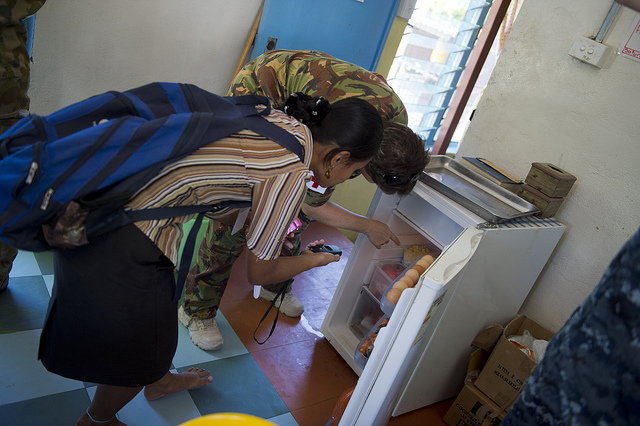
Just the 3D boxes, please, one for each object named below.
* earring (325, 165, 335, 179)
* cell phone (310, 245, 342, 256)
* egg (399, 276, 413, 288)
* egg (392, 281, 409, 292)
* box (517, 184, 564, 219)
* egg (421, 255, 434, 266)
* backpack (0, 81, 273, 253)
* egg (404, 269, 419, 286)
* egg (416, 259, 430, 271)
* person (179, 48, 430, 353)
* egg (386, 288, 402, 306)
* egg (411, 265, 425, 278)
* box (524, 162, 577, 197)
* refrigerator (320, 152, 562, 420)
[{"bbox_3d":[0.032,-0.164,1.604,0.029,0.057,0.018,17,21,-6],"label":"earring"},{"bbox_3d":[0.020,0.190,2.122,0.091,0.021,0.092,2,13,6],"label":"cell phone"},{"bbox_3d":[0.389,0.302,1.895,0.054,0.047,0.047,38,30,3],"label":"egg"},{"bbox_3d":[0.363,0.330,1.863,0.054,0.045,0.045,12,-16,-25],"label":"egg"},{"bbox_3d":[1.237,-0.074,2.314,0.085,0.101,0.151,-24,40,-26],"label":"box"},{"bbox_3d":[0.521,0.226,1.979,0.041,0.031,0.042,24,43,39],"label":"egg"},{"bbox_3d":[-0.662,-0.177,1.582,0.947,0.301,0.512,-23,66,-29],"label":"backpack"},{"bbox_3d":[0.426,0.291,1.893,0.060,0.060,0.069,-1,68,-14],"label":"egg"},{"bbox_3d":[0.487,0.245,1.943,0.045,0.035,0.045,13,27,35],"label":"egg"},{"bbox_3d":[-0.230,0.029,2.529,1.250,1.740,0.899,15,25,14],"label":"person"},{"bbox_3d":[0.334,0.364,1.823,0.059,0.062,0.079,-2,5,29],"label":"egg"},{"bbox_3d":[0.452,0.267,1.922,0.044,0.041,0.044,17,62,25],"label":"egg"},{"bbox_3d":[1.298,-0.196,2.398,0.220,0.120,0.214,7,23,-42],"label":"box"},{"bbox_3d":[0.661,0.366,2.123,0.994,1.288,0.910,-7,43,-36],"label":"refrigerator"}]
